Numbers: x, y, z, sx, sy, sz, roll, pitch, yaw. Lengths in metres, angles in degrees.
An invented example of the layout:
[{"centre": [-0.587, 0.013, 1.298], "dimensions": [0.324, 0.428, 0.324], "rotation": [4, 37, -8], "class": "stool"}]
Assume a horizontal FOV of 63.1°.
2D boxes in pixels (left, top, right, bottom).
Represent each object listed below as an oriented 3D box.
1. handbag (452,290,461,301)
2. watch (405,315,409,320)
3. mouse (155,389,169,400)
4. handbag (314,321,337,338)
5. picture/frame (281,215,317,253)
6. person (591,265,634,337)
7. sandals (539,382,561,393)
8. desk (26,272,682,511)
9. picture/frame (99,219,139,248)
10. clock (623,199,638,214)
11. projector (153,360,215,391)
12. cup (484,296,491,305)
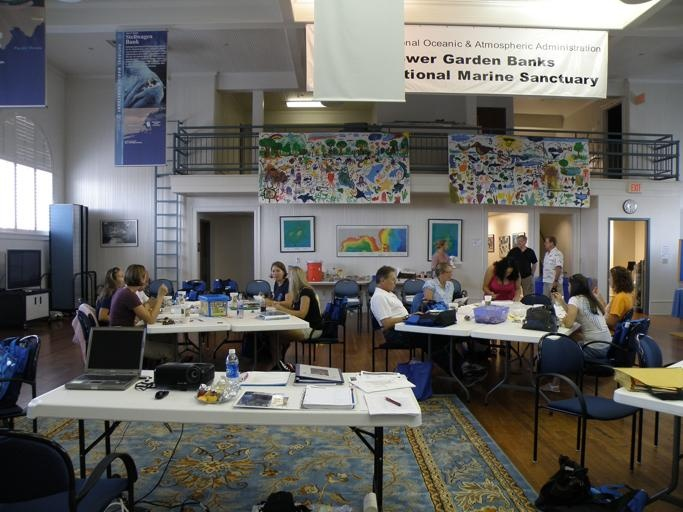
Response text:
[{"centre": [1.891, 0.656, 9.082], "dimensions": [0.126, 0.173, 0.174], "rotation": [2, 17, 12], "class": "handbag"}, {"centre": [0.831, 0.773, 6.991], "dimensions": [0.035, 0.042, 0.047], "rotation": [0, -7, 9], "class": "watch"}, {"centre": [-1.501, 1.152, 4.647], "dimensions": [0.050, 0.034, 0.093], "rotation": [2, 6, 1], "class": "mouse"}, {"centre": [-0.197, 1.002, 7.490], "dimensions": [0.235, 0.308, 0.237], "rotation": [-1, -1, 0], "class": "handbag"}, {"centre": [-0.914, -0.513, 12.131], "dimensions": [0.765, 0.801, 0.029], "rotation": [1, 0, -2], "class": "picture/frame"}, {"centre": [3.502, 0.698, 7.147], "dimensions": [0.535, 1.073, 0.517], "rotation": [-2, 5, 26], "class": "person"}, {"centre": [2.604, 1.636, 6.949], "dimensions": [0.243, 0.108, 0.115], "rotation": [2, 1, 16], "class": "sandals"}, {"centre": [-0.522, 1.437, 5.048], "dimensions": [3.994, 1.687, 1.411], "rotation": [-2, 2, 5], "class": "desk"}, {"centre": [-5.136, -0.502, 12.919], "dimensions": [0.638, 0.487, 0.023], "rotation": [1, 3, 1], "class": "picture/frame"}, {"centre": [6.351, -1.087, 12.261], "dimensions": [0.307, 0.309, 0.052], "rotation": [2, -10, -2], "class": "clock"}, {"centre": [-1.364, 1.029, 4.748], "dimensions": [0.296, 0.143, 0.293], "rotation": [2, 1, -1], "class": "projector"}, {"centre": [2.011, 0.604, 7.562], "dimensions": [0.104, 0.119, 0.107], "rotation": [1, -4, 0], "class": "cup"}]
